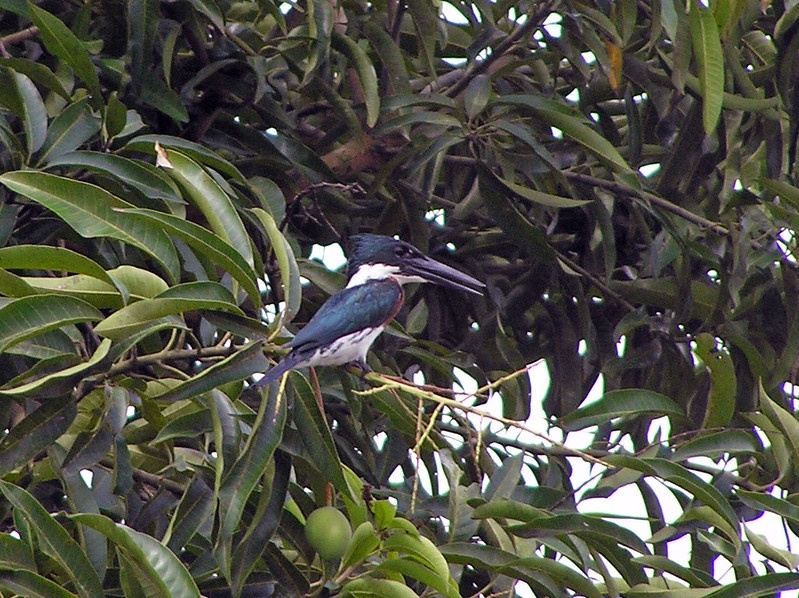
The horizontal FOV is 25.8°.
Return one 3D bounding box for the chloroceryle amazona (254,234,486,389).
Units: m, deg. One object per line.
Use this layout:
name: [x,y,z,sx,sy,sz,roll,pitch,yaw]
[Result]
chloroceryle amazona: [-0.129,0.031,6.720,0.836,0.574,0.289,-2,-7,-14]
